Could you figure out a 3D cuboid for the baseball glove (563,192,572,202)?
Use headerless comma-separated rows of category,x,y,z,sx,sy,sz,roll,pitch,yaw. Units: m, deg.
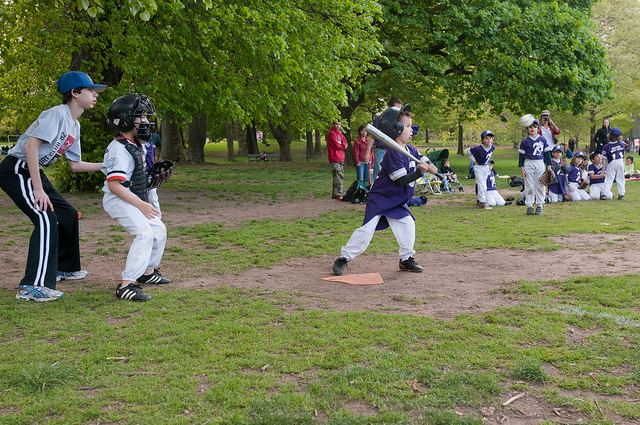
baseball glove,6.843,-0.438,16.910,0.161,0.240,0.335,4,5,44

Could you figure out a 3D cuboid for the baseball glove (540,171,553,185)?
baseball glove,5.262,-0.813,14.250,0.278,0.306,0.251,2,4,18

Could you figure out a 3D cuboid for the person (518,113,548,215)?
person,5.097,-1.173,14.674,0.631,2.390,0.924,2,4,19

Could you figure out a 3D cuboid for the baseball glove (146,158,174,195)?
baseball glove,-2.429,-0.544,9.168,0.302,0.523,0.212,30,4,-9

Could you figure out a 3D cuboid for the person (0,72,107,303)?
person,-3.750,-0.377,8.638,0.833,3.183,0.953,4,5,33

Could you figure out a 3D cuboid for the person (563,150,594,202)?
person,7.279,-1.077,17.305,0.970,1.303,0.899,-8,15,-3

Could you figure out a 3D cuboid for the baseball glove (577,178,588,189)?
baseball glove,7.492,-0.834,17.431,0.202,0.303,0.256,3,4,30

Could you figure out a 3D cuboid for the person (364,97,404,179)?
person,1.739,-1.673,15.863,0.961,2.553,0.829,13,29,4
